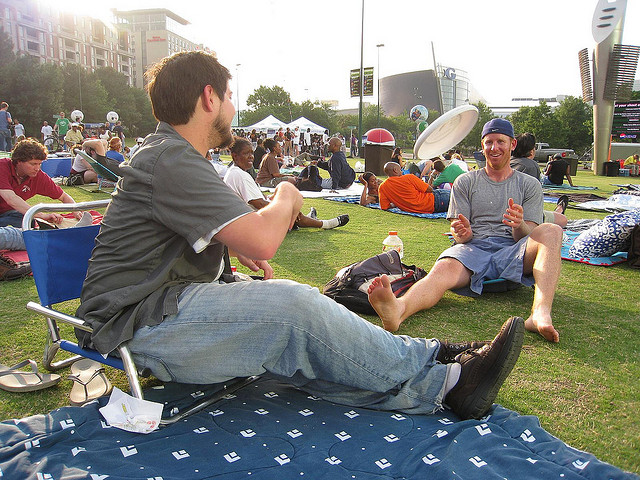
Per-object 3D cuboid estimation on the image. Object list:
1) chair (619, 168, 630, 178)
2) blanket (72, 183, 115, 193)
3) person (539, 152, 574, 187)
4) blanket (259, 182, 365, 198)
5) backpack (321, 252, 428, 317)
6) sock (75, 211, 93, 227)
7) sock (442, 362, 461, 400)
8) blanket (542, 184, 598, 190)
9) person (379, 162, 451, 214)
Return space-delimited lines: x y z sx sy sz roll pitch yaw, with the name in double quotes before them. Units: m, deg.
"chair" 15.281 -3.364 20.279 0.553 0.517 0.287 0 -4 23
"blanket" -5.837 -1.356 10.458 1.180 0.033 0.430 17 38 26
"person" 8.478 -2.450 14.442 1.244 1.071 1.316 -10 11 -28
"blanket" 0.416 -1.453 12.154 1.523 0.113 2.868 6 14 23
"backpack" 0.508 0.344 3.797 0.756 0.305 0.572 -13 15 -41
"sock" -1.482 -0.130 2.557 0.093 0.099 0.108 3 3 -8
"sock" 0.695 0.740 2.124 0.057 0.163 0.118 27 -14 -28
"blanket" 8.437 -1.827 13.952 1.849 0.093 1.247 1 13 -2
"person" 2.231 -1.140 9.187 0.890 0.892 1.578 -2 9 38
